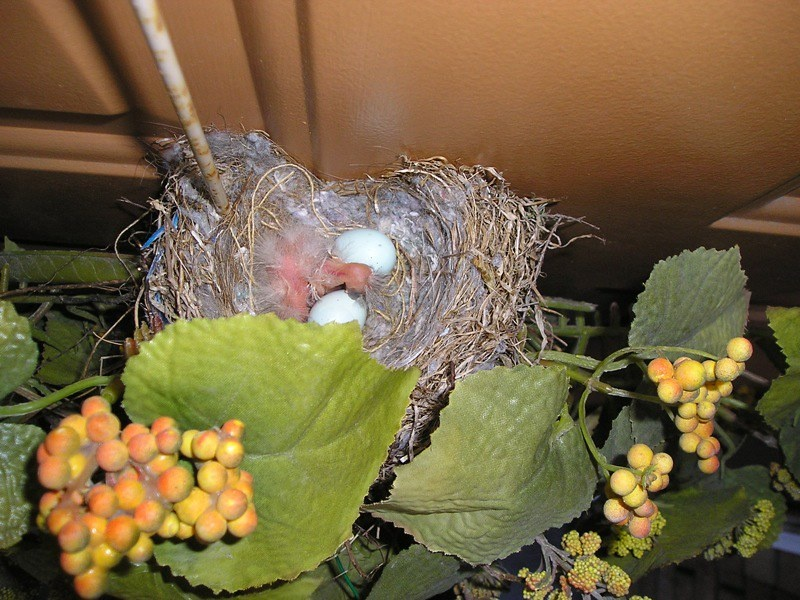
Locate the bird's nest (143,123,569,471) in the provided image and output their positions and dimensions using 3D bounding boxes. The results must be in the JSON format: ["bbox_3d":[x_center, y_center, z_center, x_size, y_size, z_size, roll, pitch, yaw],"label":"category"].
[{"bbox_3d":[-0.081,0.000,1.304,0.706,0.530,0.310,6,30,1],"label":"bird's nest"}]

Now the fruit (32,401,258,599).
[{"bbox_3d":[-0.295,0.220,0.893,0.231,0.183,0.164,-9,32,-25],"label":"fruit"}]

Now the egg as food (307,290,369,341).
[{"bbox_3d":[-0.099,0.024,1.297,0.104,0.068,0.069,3,58,-9],"label":"egg as food"}]

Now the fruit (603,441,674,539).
[{"bbox_3d":[0.319,0.253,1.031,0.072,0.121,0.090,18,32,20],"label":"fruit"}]

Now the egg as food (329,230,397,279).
[{"bbox_3d":[-0.068,-0.078,1.374,0.104,0.074,0.068,11,68,-11],"label":"egg as food"}]
